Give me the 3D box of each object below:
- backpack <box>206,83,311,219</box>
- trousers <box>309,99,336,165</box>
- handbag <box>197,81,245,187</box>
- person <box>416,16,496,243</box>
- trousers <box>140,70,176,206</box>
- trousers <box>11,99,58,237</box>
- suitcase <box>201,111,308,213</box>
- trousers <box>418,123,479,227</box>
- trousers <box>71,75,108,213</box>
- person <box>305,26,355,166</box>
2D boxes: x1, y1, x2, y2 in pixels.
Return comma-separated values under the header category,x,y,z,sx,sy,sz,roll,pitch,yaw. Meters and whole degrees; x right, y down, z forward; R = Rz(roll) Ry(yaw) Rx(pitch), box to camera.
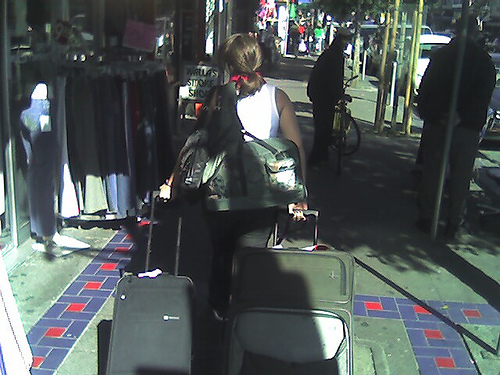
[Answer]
category,x,y,z,sx,sy,sz,roll,pitch,yaw
backpack,0.054,-0.305,3.003,0.617,1.021,0.381,-2,-7,-6
trousers,1.330,-1.042,8.342,0.408,1.201,0.311,2,15,-3
handbag,-0.138,-0.380,2.957,0.164,0.974,0.223,-6,-25,39
person,2.478,-0.672,5.435,0.601,2.661,0.798,1,15,-5
trousers,-1.126,-0.653,5.291,0.413,1.434,0.446,9,12,19
trousers,-2.078,-0.234,4.437,0.386,1.728,0.387,10,15,37
suitcase,0.013,-0.080,3.023,0.718,0.357,0.824,-5,61,-3
trousers,2.448,-0.140,5.600,0.596,1.296,0.330,11,17,28
trousers,-1.594,-0.429,4.688,0.448,2.062,0.212,-1,48,-16
person,1.423,-1.633,8.271,0.690,2.410,0.532,-1,15,-14
